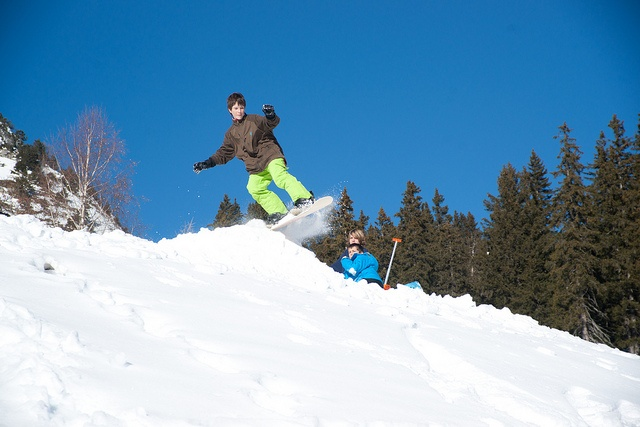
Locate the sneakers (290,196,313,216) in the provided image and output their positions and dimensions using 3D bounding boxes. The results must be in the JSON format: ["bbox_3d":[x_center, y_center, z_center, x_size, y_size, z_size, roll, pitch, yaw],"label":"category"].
[{"bbox_3d":[-0.405,-0.175,13.245,0.275,0.237,0.627,3,-14,-12],"label":"sneakers"}]

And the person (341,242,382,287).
[{"bbox_3d":[0.896,1.287,13.532,0.755,1.584,0.663,-3,30,-7],"label":"person"}]
